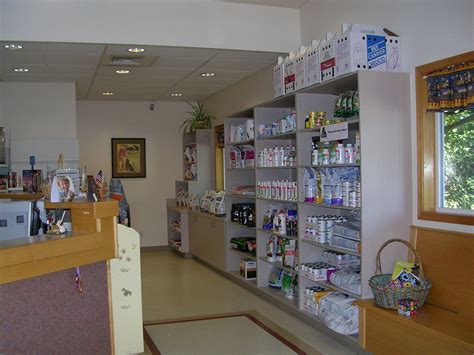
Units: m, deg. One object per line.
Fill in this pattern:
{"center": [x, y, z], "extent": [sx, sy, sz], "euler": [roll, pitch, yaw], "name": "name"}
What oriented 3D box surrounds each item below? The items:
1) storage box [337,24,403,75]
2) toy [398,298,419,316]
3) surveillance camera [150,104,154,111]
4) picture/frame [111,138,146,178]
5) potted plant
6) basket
{"center": [1.338, -1.342, 3.655], "extent": [0.614, 0.463, 0.331], "euler": [-5, 7, -19], "name": "storage box"}
{"center": [1.435, 1.091, 2.966], "extent": [0.130, 0.131, 0.127], "euler": [2, -2, -39], "name": "toy"}
{"center": [-2.052, -1.732, 8.524], "extent": [0.113, 0.153, 0.189], "euler": [-2, 0, -12], "name": "surveillance camera"}
{"center": [-2.634, -0.490, 8.427], "extent": [0.919, 1.164, 0.052], "euler": [-2, 4, -11], "name": "picture/frame"}
{"center": [-0.906, -1.445, 8.398], "extent": [0.771, 1.031, 1.048], "euler": [0, -5, -11], "name": "potted plant"}
{"center": [1.438, 0.858, 3.165], "extent": [0.468, 0.557, 0.445], "euler": [-9, -4, -29], "name": "basket"}
